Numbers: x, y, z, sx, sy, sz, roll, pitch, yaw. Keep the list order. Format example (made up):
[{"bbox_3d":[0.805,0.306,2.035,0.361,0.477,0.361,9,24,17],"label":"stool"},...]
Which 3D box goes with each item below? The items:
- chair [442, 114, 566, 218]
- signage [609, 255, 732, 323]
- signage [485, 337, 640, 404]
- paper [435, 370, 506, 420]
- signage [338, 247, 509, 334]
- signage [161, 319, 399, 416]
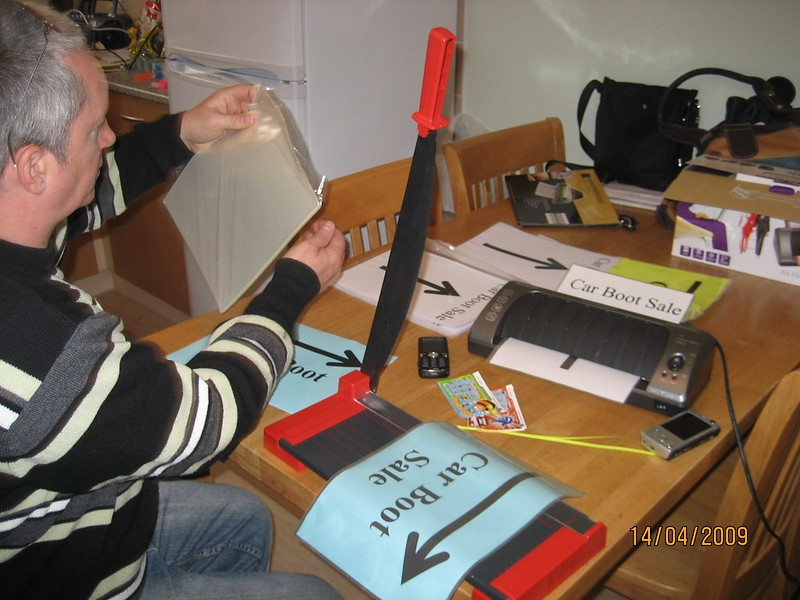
[{"bbox_3d":[0.325,-0.399,1.851,0.256,0.439,0.270,-30,53,-11],"label":"chair"},{"bbox_3d":[0.616,-0.041,1.360,0.161,0.024,0.172,17,43,29],"label":"signage"},{"bbox_3d":[0.294,0.128,1.067,0.211,0.012,0.089,20,46,27],"label":"signage"},{"bbox_3d":[0.118,0.167,1.027,0.079,0.013,0.090,-14,33,-14],"label":"paper"},{"bbox_3d":[0.050,-0.024,1.300,0.217,0.031,0.235,23,37,25],"label":"signage"},{"bbox_3d":[-0.153,0.127,1.071,0.211,0.001,0.191,26,37,31],"label":"signage"}]
